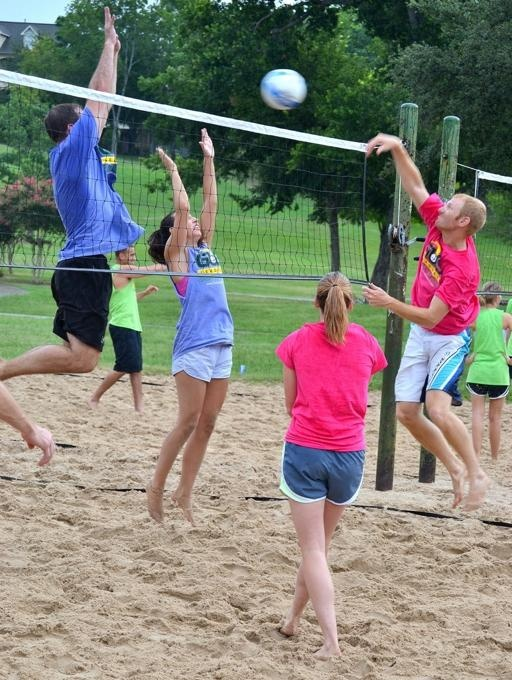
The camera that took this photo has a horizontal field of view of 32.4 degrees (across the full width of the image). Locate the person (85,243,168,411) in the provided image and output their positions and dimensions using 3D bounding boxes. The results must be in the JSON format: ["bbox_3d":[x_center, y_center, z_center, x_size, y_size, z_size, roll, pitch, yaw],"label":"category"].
[{"bbox_3d":[-1.293,-0.106,8.091,0.808,1.673,0.664,2,2,29],"label":"person"}]

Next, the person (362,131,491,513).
[{"bbox_3d":[0.985,-0.123,5.081,0.749,2.111,0.687,3,6,2],"label":"person"}]

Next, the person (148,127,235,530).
[{"bbox_3d":[-0.399,-0.012,5.160,0.511,2.341,0.606,2,6,-7],"label":"person"}]

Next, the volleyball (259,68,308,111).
[{"bbox_3d":[0.274,-2.584,9.007,0.457,0.430,0.497,2,6,0],"label":"volleyball"}]
